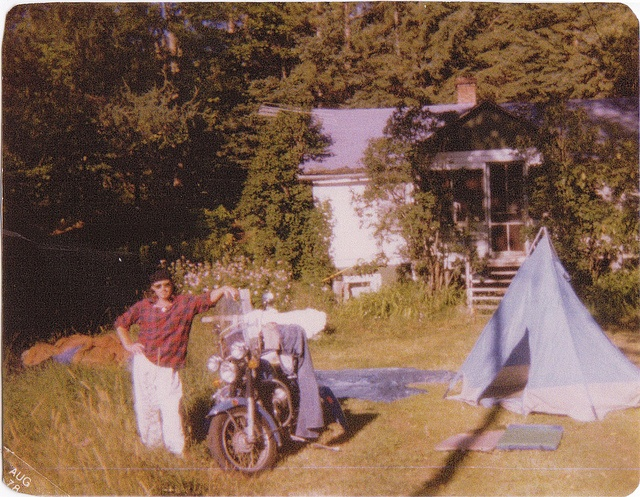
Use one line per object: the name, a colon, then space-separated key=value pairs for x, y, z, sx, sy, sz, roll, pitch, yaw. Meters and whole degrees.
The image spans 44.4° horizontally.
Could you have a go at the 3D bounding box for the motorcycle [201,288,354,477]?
motorcycle: x=-0.643 y=1.668 z=9.869 sx=1.298 sy=1.784 sz=2.535 roll=-30 pitch=-7 yaw=28

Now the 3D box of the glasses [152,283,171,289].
glasses: x=-1.962 y=0.459 z=9.708 sx=0.230 sy=0.095 sz=0.100 roll=-3 pitch=-1 yaw=-16
